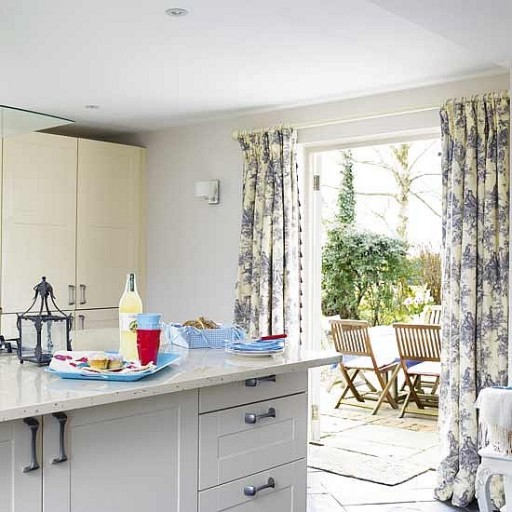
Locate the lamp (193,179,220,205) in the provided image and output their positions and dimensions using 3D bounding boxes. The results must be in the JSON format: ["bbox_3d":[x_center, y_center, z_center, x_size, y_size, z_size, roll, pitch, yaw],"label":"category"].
[{"bbox_3d":[-0.406,-0.549,4.497,0.195,0.262,0.199,4,6,39],"label":"lamp"}]

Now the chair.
[{"bbox_3d":[1.314,1.111,5.303,1.163,1.236,0.896,-2,1,32],"label":"chair"}]
